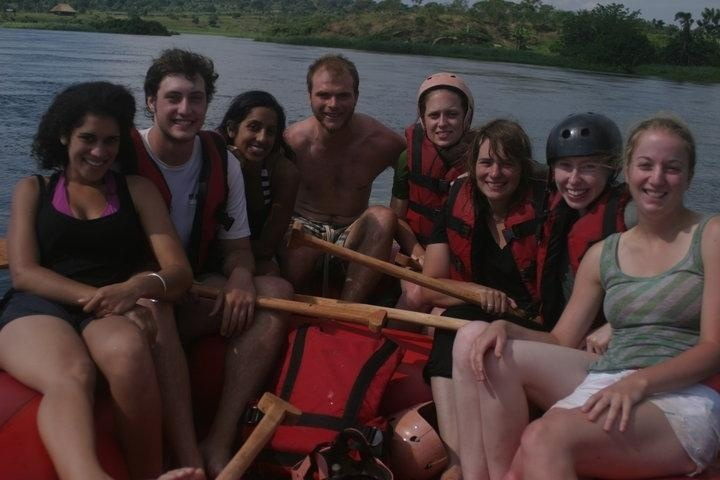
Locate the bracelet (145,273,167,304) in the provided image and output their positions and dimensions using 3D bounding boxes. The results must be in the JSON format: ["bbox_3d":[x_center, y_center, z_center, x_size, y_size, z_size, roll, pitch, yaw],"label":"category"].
[{"bbox_3d":[-1.419,0.342,4.408,0.047,0.173,0.172,-14,-7,-36],"label":"bracelet"}]
